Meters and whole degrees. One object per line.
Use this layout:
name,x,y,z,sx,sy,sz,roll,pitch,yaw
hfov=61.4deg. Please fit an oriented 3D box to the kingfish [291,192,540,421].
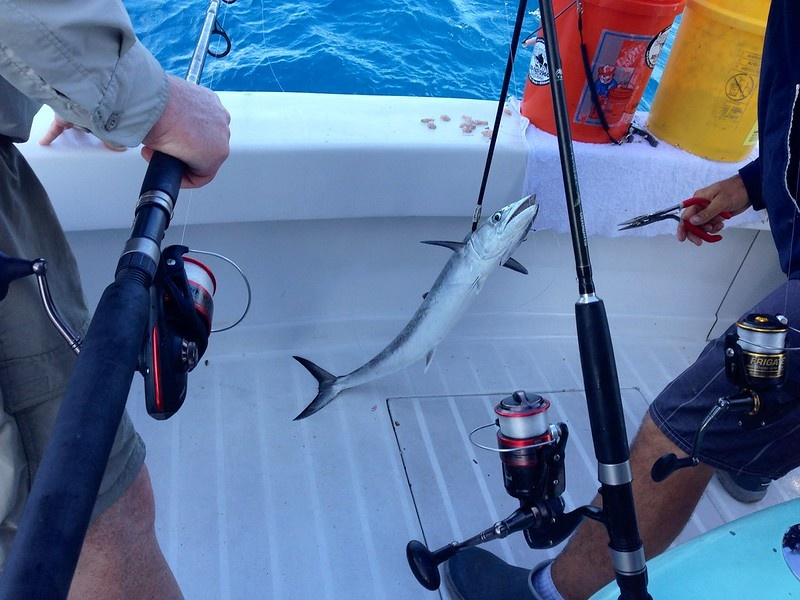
kingfish,0.005,0.014,2.126,0.221,0.851,0.204,-7,58,-54

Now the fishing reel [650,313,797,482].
fishing reel,0.643,0.208,1.315,0.123,0.370,0.366,26,33,34

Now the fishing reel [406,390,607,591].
fishing reel,0.212,0.391,1.390,0.409,0.387,0.187,-20,18,-18

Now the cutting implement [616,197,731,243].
cutting implement,0.704,-0.205,1.712,0.323,0.156,0.060,-6,0,-14
